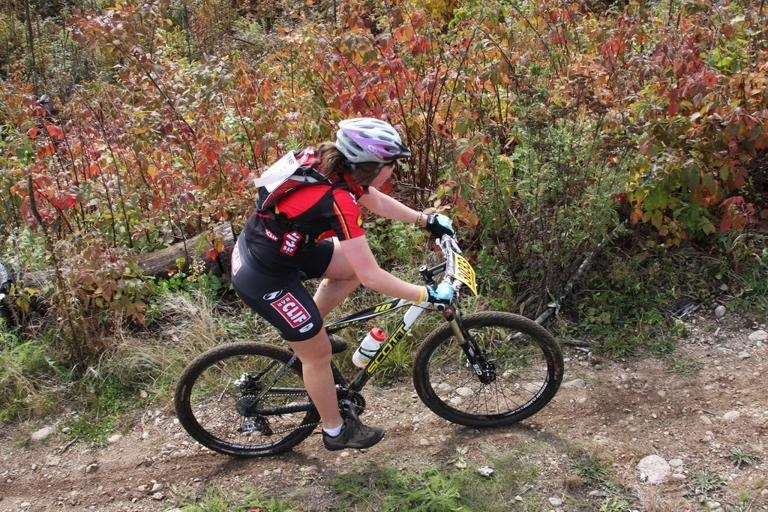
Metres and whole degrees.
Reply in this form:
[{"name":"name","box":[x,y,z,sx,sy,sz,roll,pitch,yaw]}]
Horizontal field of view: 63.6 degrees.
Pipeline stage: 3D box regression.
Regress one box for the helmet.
[{"name":"helmet","box":[-0.058,-0.870,4.645,0.644,0.237,0.484,23,33,29]}]

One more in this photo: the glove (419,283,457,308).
[{"name":"glove","box":[0.439,0.313,4.855,0.223,0.100,0.157,8,46,1]}]

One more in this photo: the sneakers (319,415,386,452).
[{"name":"sneakers","box":[-0.237,1.428,5.180,0.583,0.274,0.217,-5,31,-6]}]

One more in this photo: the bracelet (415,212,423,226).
[{"name":"bracelet","box":[0.279,-0.295,5.054,0.031,0.084,0.064,26,13,-6]}]

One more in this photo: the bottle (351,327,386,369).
[{"name":"bottle","box":[-0.151,0.771,5.204,0.173,0.391,0.166,29,20,-12]}]
